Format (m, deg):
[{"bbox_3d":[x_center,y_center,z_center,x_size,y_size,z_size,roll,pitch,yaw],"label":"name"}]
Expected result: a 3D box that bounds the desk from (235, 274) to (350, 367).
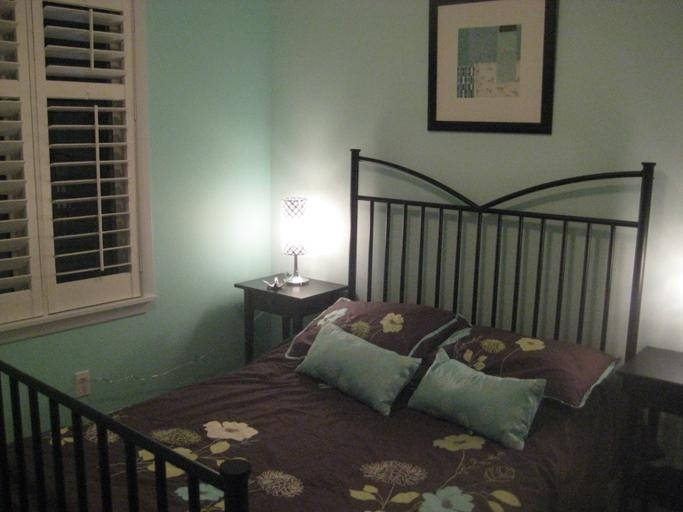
[{"bbox_3d":[-0.255,0.216,3.244,0.659,0.609,0.491,9,11,44],"label":"desk"}]
